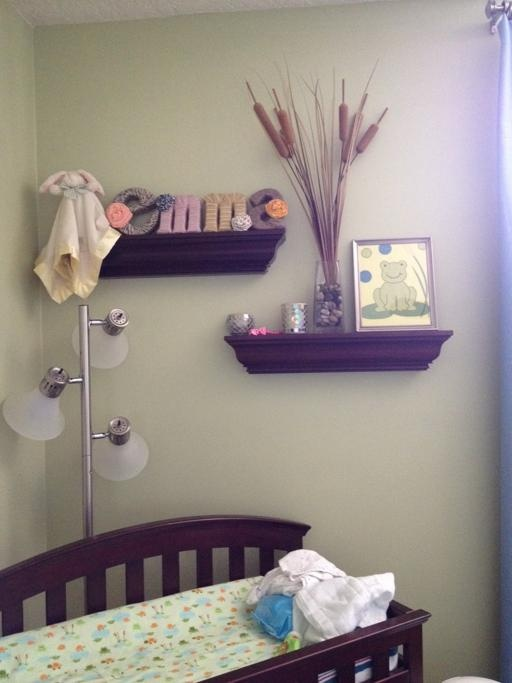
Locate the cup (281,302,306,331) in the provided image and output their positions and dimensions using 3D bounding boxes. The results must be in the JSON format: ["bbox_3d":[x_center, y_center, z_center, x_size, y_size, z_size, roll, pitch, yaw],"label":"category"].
[{"bbox_3d":[0.126,-0.075,2.218,0.083,0.092,0.063,-3,6,-7],"label":"cup"}]

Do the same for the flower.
[{"bbox_3d":[0.199,-0.542,2.277,0.470,0.708,0.214,-1,7,10],"label":"flower"}]

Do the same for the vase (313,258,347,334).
[{"bbox_3d":[0.225,-0.145,2.227,0.113,0.227,0.103,0,7,17],"label":"vase"}]

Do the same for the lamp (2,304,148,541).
[{"bbox_3d":[-0.565,0.268,2.148,0.429,0.760,0.326,-3,7,-10],"label":"lamp"}]

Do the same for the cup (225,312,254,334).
[{"bbox_3d":[-0.053,-0.057,2.210,0.069,0.047,0.071,0,-3,0],"label":"cup"}]

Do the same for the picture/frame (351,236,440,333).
[{"bbox_3d":[0.459,-0.176,2.250,0.346,0.374,0.017,-1,-12,4],"label":"picture/frame"}]
